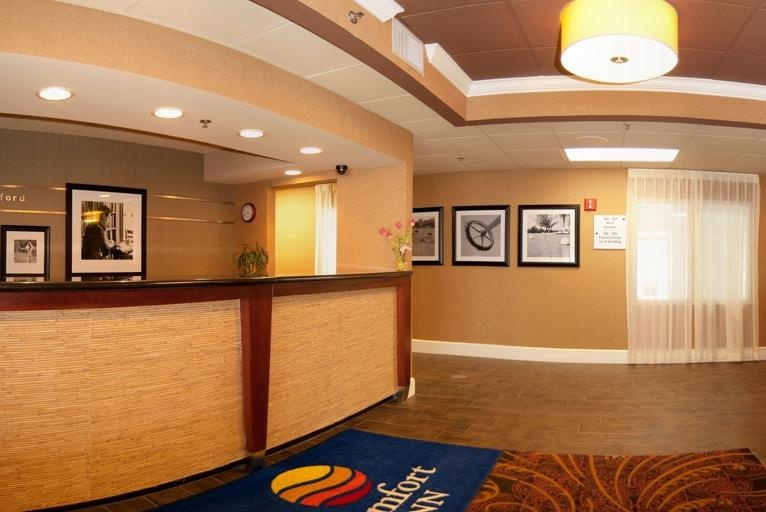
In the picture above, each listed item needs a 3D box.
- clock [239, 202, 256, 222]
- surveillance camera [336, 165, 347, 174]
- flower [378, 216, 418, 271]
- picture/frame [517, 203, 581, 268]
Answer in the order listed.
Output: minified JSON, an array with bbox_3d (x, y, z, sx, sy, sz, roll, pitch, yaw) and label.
[{"bbox_3d":[-2.179,-0.699,8.140,0.327,0.288,0.075,-2,-2,30],"label":"clock"},{"bbox_3d":[-0.554,-1.150,6.766,0.125,0.079,0.116,1,-3,-13],"label":"surveillance camera"},{"bbox_3d":[0.166,-0.144,6.350,0.400,0.639,0.523,1,7,-1],"label":"flower"},{"bbox_3d":[2.789,-0.330,8.393,1.264,1.141,0.093,0,-3,13],"label":"picture/frame"}]
